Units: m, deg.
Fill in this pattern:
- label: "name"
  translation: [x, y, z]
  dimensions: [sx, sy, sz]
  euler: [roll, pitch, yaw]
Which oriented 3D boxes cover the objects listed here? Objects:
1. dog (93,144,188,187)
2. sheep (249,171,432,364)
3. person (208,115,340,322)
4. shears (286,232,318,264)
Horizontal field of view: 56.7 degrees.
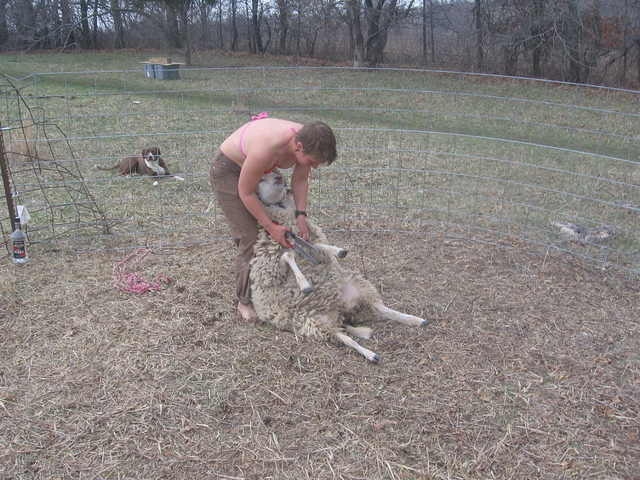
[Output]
- label: "dog"
  translation: [-2.940, -1.255, 9.531]
  dimensions: [1.665, 0.594, 0.512]
  euler: [13, 27, 37]
- label: "sheep"
  translation: [-0.074, 0.297, 5.791]
  dimensions: [1.114, 0.988, 2.541]
  euler: [-20, 39, -25]
- label: "person"
  translation: [-0.200, -0.344, 5.616]
  dimensions: [0.999, 2.201, 1.093]
  euler: [-4, -14, -33]
- label: "shears"
  translation: [-0.175, 0.071, 5.554]
  dimensions: [0.291, 0.238, 0.190]
  euler: [1, 21, 3]
